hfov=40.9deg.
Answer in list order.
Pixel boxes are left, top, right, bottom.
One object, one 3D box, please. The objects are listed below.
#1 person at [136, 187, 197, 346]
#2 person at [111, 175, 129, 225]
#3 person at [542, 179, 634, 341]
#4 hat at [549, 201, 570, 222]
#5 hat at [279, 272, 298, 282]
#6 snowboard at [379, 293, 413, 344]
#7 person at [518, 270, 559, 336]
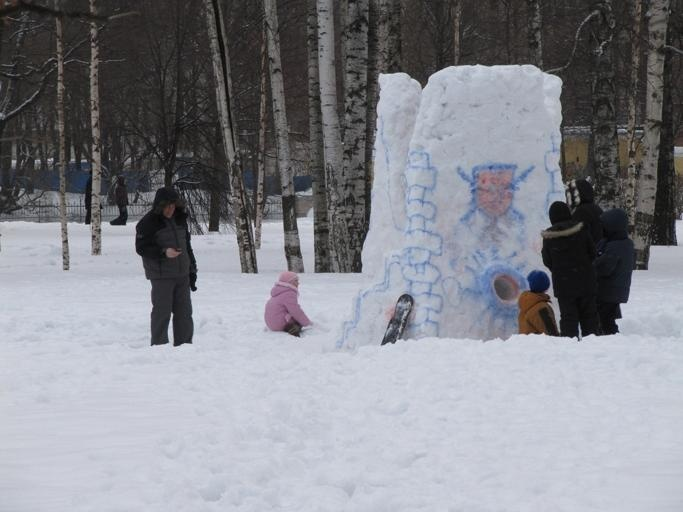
[{"bbox_3d":[-2.140,0.137,11.410,0.790,1.964,0.548,-5,5,-30],"label":"person"},{"bbox_3d":[-6.906,-1.696,28.538,0.520,1.544,2.052,-3,5,-14],"label":"person"},{"bbox_3d":[2.950,0.034,10.995,0.614,1.863,1.298,2,6,43],"label":"person"},{"bbox_3d":[2.571,-0.512,10.784,0.192,0.238,0.245,-3,-1,-5],"label":"hat"},{"bbox_3d":[-0.717,0.287,12.680,0.178,0.103,0.157,-6,11,-30],"label":"hat"},{"bbox_3d":[0.713,0.759,11.072,0.220,0.846,0.122,18,-24,23],"label":"snowboard"},{"bbox_3d":[2.321,0.564,10.748,0.475,0.698,0.751,-1,5,11],"label":"person"}]
